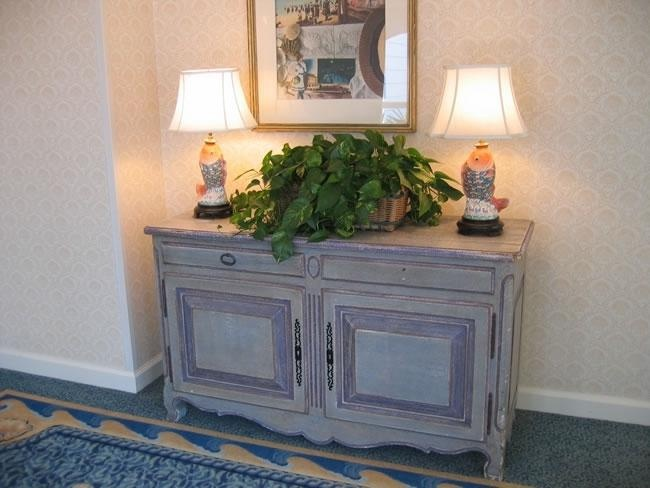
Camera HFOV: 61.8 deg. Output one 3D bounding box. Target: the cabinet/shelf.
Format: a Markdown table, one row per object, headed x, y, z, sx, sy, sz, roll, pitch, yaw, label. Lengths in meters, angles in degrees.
| x | y | z | sx | sy | sz | roll | pitch | yaw | label |
| --- | --- | --- | --- | --- | --- | --- | --- | --- | --- |
| 0.091 | 0.459 | 2.516 | 1.136 | 0.717 | 0.381 | 4 | 14 | 17 | cabinet/shelf |

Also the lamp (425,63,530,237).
| x | y | z | sx | sy | sz | roll | pitch | yaw | label |
| --- | --- | --- | --- | --- | --- | --- | --- | --- | --- |
| 0.671 | -0.409 | 2.403 | 0.395 | 0.722 | 0.216 | 4 | 16 | 18 | lamp |
